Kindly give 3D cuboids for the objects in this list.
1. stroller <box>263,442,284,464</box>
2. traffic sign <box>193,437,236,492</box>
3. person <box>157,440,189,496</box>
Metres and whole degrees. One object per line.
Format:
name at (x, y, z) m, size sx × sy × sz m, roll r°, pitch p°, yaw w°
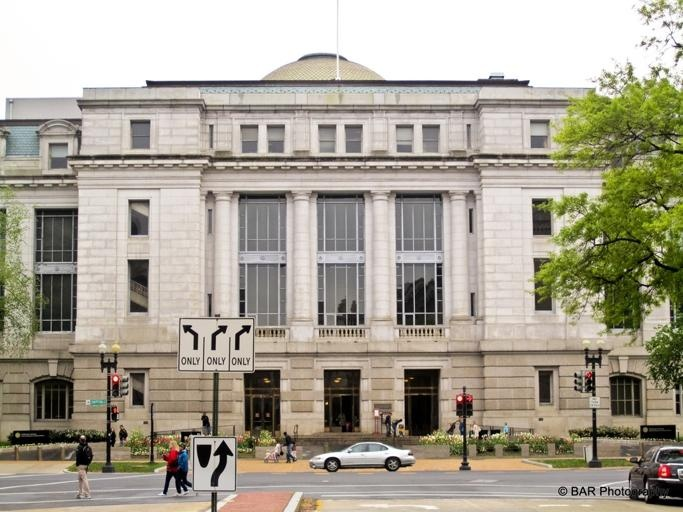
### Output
stroller at (-4.187, 12.454, 104.626) m, size 1.238 × 0.566 × 1.678 m, roll -1°, pitch -2°, yaw 0°
traffic sign at (-5.665, 9.428, 75.337) m, size 1.886 × 2.479 × 1.601 m, roll -1°, pitch -10°, yaw -5°
person at (-8.885, 11.378, 89.344) m, size 1.417 × 2.627 × 1.062 m, roll 0°, pitch -6°, yaw -2°
